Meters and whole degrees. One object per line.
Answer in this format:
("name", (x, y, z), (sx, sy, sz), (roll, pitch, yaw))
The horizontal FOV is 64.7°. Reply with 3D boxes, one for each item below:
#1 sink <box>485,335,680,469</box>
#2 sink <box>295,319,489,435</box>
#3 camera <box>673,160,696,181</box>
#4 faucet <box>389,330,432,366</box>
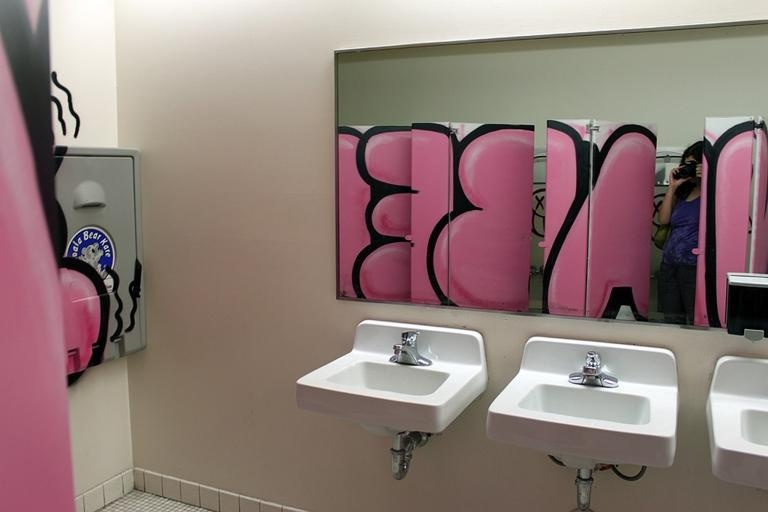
("sink", (0.700, 0.477, 2.073), (0.556, 0.242, 0.577), (4, 12, 26))
("sink", (0.058, 0.463, 2.279), (0.514, 0.320, 0.481), (2, 3, 29))
("camera", (1.050, -0.296, 2.115), (0.055, 0.054, 0.075), (-21, 5, -34))
("faucet", (0.098, 0.358, 2.410), (0.124, 0.105, 0.149), (1, 0, 22))
